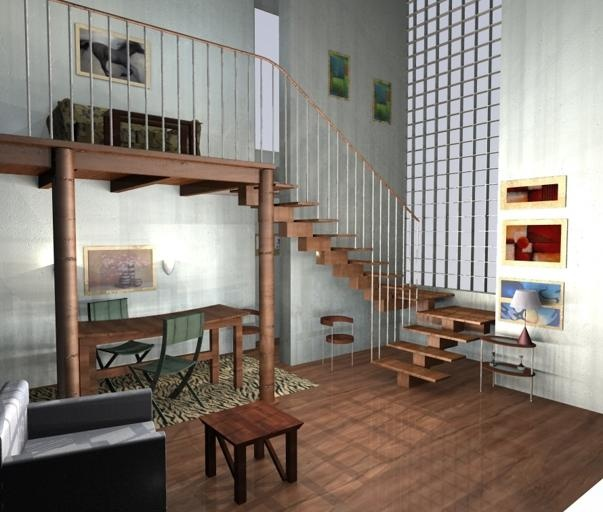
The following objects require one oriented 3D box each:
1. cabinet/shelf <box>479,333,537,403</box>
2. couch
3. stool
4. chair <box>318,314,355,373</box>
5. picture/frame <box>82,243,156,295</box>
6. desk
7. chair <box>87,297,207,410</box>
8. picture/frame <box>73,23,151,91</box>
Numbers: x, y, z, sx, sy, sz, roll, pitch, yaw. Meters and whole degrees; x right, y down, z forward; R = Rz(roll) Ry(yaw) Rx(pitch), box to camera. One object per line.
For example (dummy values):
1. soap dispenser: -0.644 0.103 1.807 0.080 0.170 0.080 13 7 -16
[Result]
1. cabinet/shelf: 2.735 1.494 6.482 0.711 0.629 0.441 4 -1 20
2. couch: -2.107 -1.553 5.961 1.771 0.558 1.283 -4 9 -26
3. stool: -0.492 1.697 4.541 0.790 0.622 0.749 -3 4 -32
4. chair: 0.580 1.281 7.312 0.606 0.638 0.619 -3 -3 39
5. picture/frame: -2.595 0.178 6.809 0.790 0.506 0.016 -4 6 -37
6. desk: -1.759 1.270 6.037 2.100 0.955 0.753 -2 2 -37
7. chair: -2.258 1.081 5.908 2.009 1.282 0.944 1 3 44
8. picture/frame: -2.520 -2.650 6.590 0.715 0.755 0.842 4 9 25
